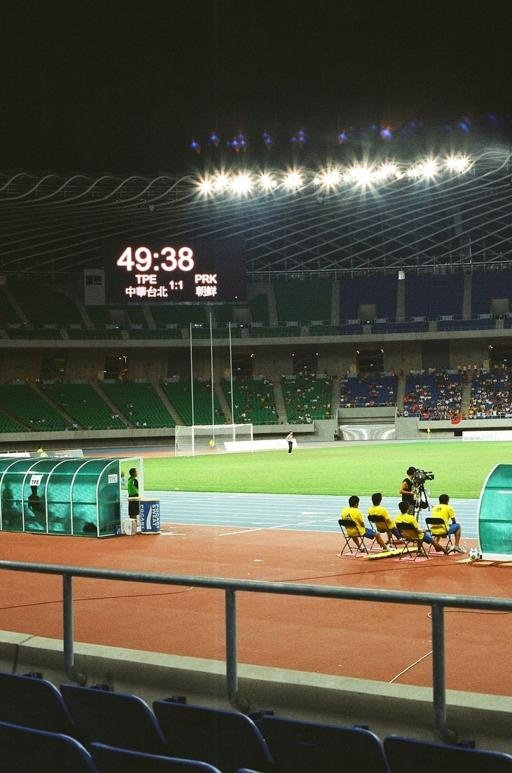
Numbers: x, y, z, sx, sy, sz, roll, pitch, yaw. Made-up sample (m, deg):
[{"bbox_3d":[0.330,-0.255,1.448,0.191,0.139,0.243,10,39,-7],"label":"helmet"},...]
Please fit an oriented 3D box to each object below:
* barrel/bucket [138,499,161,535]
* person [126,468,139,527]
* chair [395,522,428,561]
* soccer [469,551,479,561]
[{"bbox_3d":[-2.481,3.015,16.957,0.447,0.729,0.700,-2,3,-13],"label":"barrel/bucket"},{"bbox_3d":[-2.896,2.559,17.195,0.272,1.390,0.720,-2,3,-10],"label":"person"},{"bbox_3d":[2.786,2.666,13.029,0.541,0.744,1.337,-1,3,11],"label":"chair"},{"bbox_3d":[3.475,2.661,11.570,0.146,0.164,0.175,6,18,18],"label":"soccer"}]
